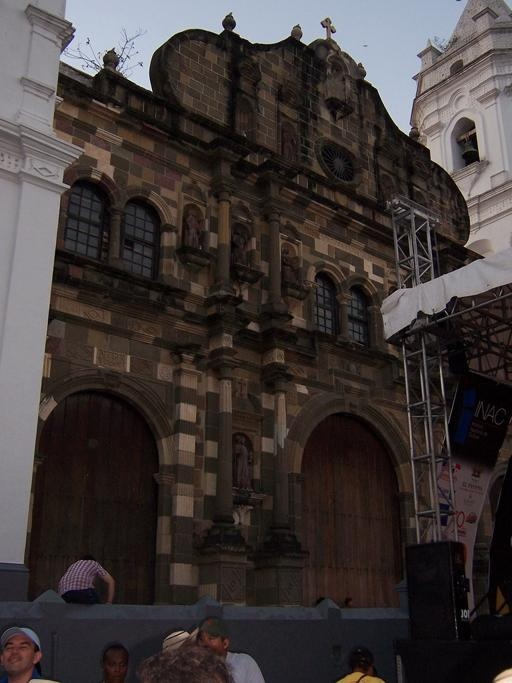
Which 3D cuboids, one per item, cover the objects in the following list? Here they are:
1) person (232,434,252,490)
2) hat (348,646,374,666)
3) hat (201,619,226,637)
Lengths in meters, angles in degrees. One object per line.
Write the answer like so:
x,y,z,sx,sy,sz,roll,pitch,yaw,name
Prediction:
-0.283,2.581,16.078,0.408,1.291,0.800,0,-17,0,person
0.964,2.977,6.934,0.211,0.164,0.235,-2,-2,10,hat
-0.329,2.179,5.678,0.185,0.123,0.240,-12,-20,36,hat
